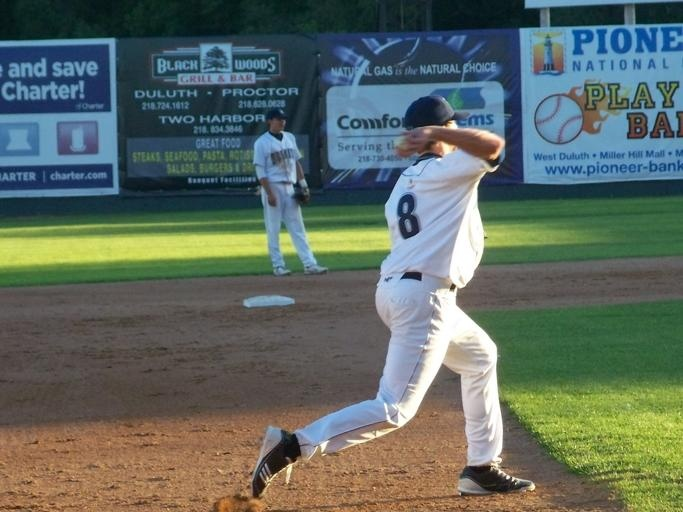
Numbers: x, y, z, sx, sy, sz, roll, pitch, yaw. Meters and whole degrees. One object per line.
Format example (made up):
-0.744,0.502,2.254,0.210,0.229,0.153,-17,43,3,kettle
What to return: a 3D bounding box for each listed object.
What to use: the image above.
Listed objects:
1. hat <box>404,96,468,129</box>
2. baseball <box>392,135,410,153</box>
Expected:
1.250,-2.020,20.615,0.793,0.510,0.511,5,13,-3,hat
0.823,-1.565,20.160,0.174,0.235,0.216,2,8,-12,baseball
